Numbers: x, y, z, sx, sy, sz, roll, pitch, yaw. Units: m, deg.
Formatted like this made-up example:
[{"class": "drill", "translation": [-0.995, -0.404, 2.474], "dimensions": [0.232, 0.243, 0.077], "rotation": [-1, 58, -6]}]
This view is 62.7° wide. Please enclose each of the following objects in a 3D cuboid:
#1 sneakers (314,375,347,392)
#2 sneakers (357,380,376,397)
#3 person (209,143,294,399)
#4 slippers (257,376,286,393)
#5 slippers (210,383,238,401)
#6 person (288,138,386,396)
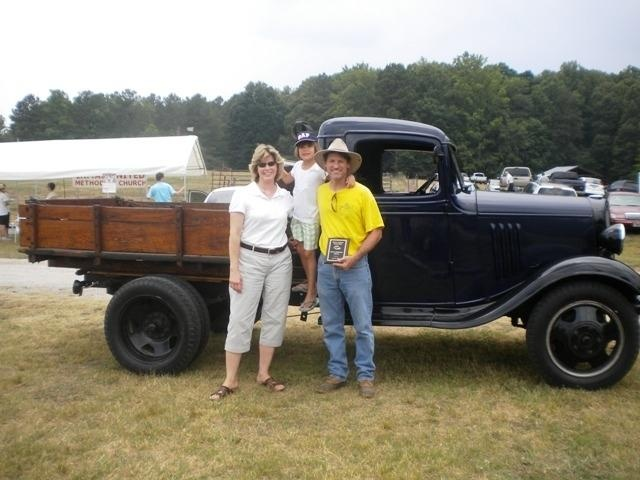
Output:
[{"class": "sneakers", "translation": [0.100, 1.437, 5.287], "dimensions": [0.118, 0.141, 0.343], "rotation": [-6, -8, 41]}, {"class": "sneakers", "translation": [0.463, 1.454, 5.243], "dimensions": [0.171, 0.114, 0.279], "rotation": [1, 12, 6]}, {"class": "person", "translation": [-0.631, 0.279, 5.221], "dimensions": [0.809, 2.420, 0.536], "rotation": [-4, 12, -18]}, {"class": "slippers", "translation": [-0.482, 1.462, 5.341], "dimensions": [0.209, 0.082, 0.126], "rotation": [0, 3, 39]}, {"class": "slippers", "translation": [-0.957, 1.481, 5.137], "dimensions": [0.205, 0.082, 0.272], "rotation": [2, 12, 7]}, {"class": "person", "translation": [0.268, 0.264, 5.161], "dimensions": [0.661, 2.473, 0.525], "rotation": [2, 11, 8]}]
